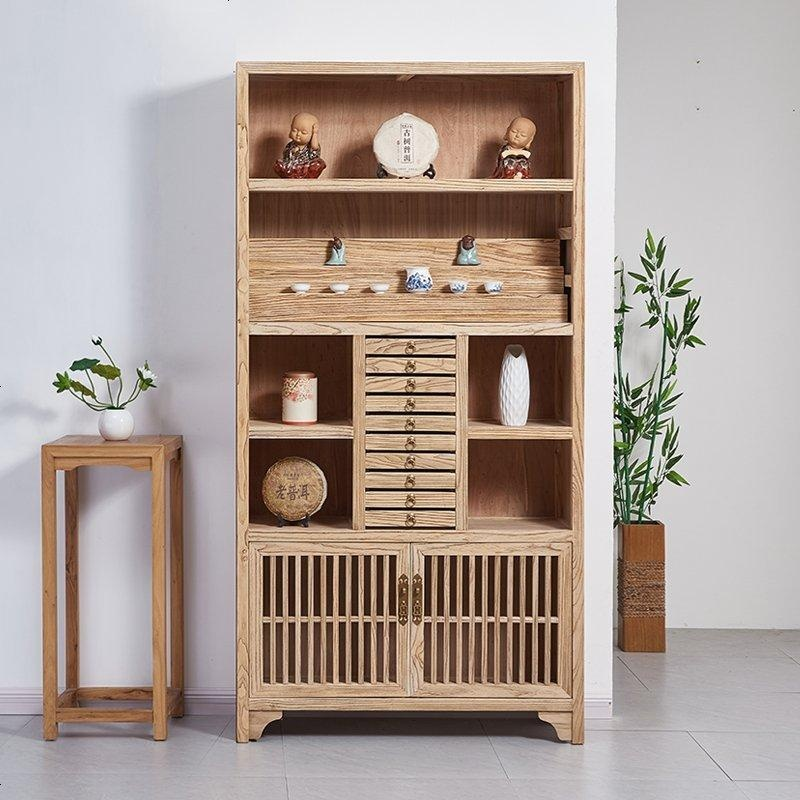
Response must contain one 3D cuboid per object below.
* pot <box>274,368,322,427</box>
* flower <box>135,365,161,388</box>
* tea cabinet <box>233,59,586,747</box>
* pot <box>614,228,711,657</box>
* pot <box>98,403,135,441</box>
[{"bbox_3d":[-0.300,-0.015,2.990,0.128,0.221,0.134,0,-3,0],"label":"pot"},{"bbox_3d":[-0.814,-0.071,3.084,0.040,0.080,0.076,-12,21,13],"label":"flower"},{"bbox_3d":[0.040,0.021,3.024,1.096,2.096,0.360,0,3,-2],"label":"tea cabinet"},{"bbox_3d":[1.073,0.152,3.972,0.371,1.724,0.570,1,3,18],"label":"pot"},{"bbox_3d":[-0.892,0.070,2.982,0.093,0.098,0.095,0,-4,0],"label":"pot"}]
